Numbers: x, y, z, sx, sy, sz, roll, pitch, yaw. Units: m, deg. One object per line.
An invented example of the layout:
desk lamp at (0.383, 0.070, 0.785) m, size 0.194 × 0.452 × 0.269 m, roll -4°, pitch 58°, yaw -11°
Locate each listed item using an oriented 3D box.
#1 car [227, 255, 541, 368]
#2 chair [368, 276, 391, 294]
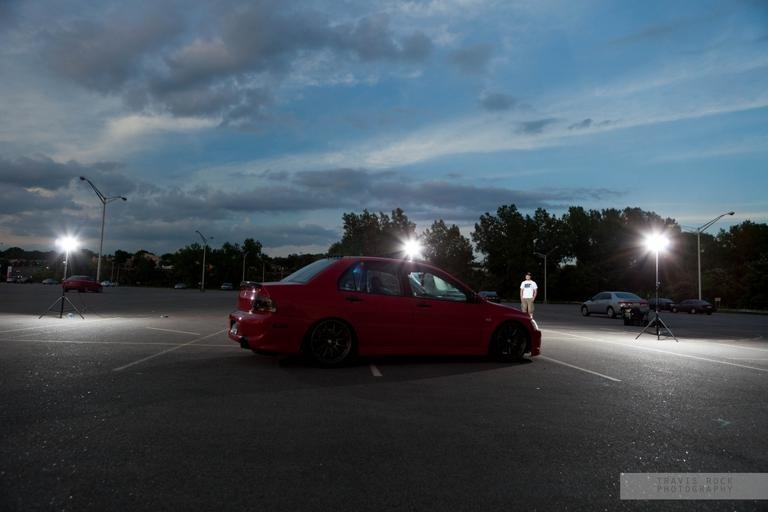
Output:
car at (-0.007, 1.311, 13.040) m, size 8.408 × 3.169 × 3.465 m, roll -1°, pitch -1°, yaw 0°
chair at (-0.098, 0.597, 9.355) m, size 0.398 × 0.420 × 0.301 m, roll 4°, pitch 1°, yaw 0°
